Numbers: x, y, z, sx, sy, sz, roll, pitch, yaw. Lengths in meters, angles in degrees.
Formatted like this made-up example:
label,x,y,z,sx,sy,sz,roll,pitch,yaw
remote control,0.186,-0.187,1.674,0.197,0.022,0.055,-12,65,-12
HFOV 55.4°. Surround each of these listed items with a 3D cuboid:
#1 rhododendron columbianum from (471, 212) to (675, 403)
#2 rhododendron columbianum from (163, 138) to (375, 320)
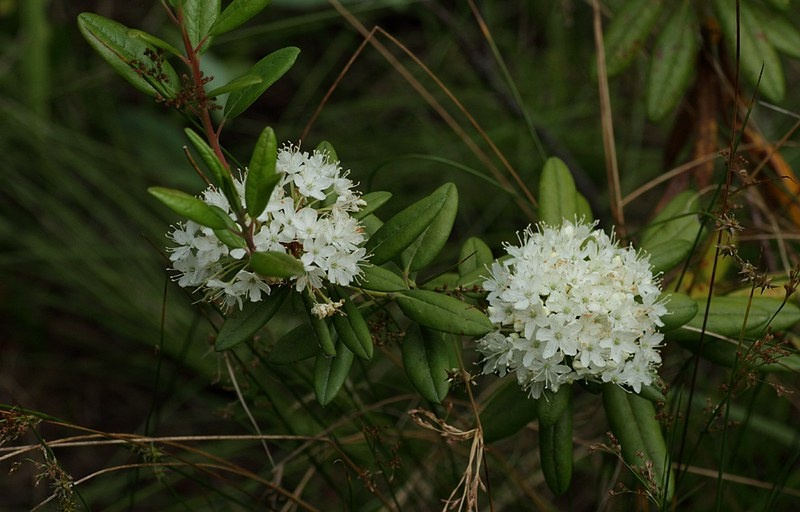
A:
label,x,y,z,sx,sy,sz,roll,pitch,yaw
rhododendron columbianum,0.837,0.277,3.790,0.911,0.628,0.655,-5,48,8
rhododendron columbianum,-0.600,-0.001,3.765,0.959,0.987,0.706,-15,48,-1
